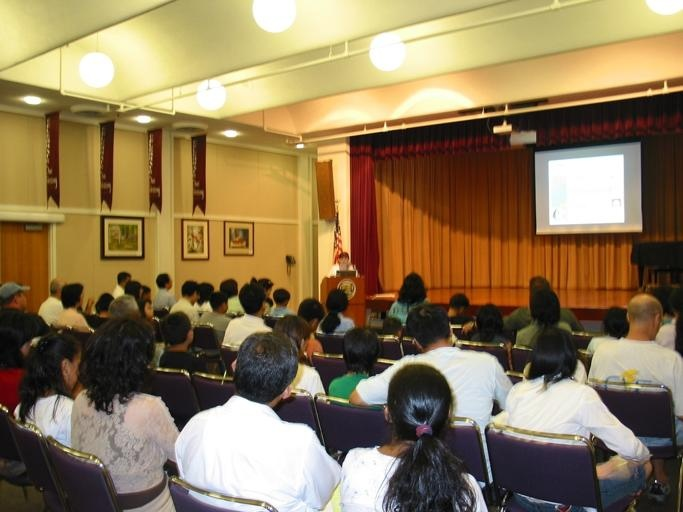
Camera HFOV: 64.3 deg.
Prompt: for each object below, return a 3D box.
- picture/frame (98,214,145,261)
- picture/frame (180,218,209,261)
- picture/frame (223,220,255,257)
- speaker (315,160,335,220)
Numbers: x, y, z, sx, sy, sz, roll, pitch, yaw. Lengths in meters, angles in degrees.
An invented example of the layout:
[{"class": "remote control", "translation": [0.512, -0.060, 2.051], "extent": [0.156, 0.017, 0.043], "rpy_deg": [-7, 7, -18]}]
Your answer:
[{"class": "picture/frame", "translation": [-3.967, -0.327, 9.712], "extent": [0.717, 0.835, 0.052], "rpy_deg": [1, -4, -41]}, {"class": "picture/frame", "translation": [-2.922, -0.320, 10.754], "extent": [0.042, 1.138, 0.719], "rpy_deg": [-4, -4, 42]}, {"class": "picture/frame", "translation": [-2.194, -0.379, 11.485], "extent": [0.044, 0.725, 0.675], "rpy_deg": [-7, -6, 39]}, {"class": "speaker", "translation": [-0.292, -1.303, 10.678], "extent": [0.358, 1.106, 0.175], "rpy_deg": [-1, -1, 21]}]
